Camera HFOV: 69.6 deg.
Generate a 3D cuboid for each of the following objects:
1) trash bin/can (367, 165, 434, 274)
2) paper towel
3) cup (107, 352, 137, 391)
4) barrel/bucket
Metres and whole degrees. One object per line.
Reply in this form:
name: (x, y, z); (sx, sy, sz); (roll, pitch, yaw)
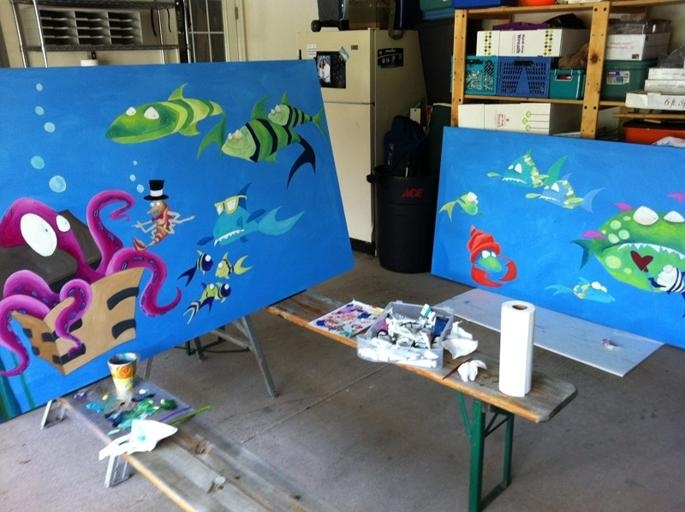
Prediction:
trash bin/can: (0.555, -0.359, 4.566); (0.826, 0.925, 0.578); (-8, 16, -24)
paper towel: (0.698, 0.379, 2.005); (0.138, 0.344, 0.171); (5, 25, 12)
cup: (-0.943, 0.508, 2.125); (0.116, 0.126, 0.123); (2, 7, 0)
barrel/bucket: (0.567, -0.373, 4.569); (0.869, 0.956, 0.595); (-7, 16, -22)
